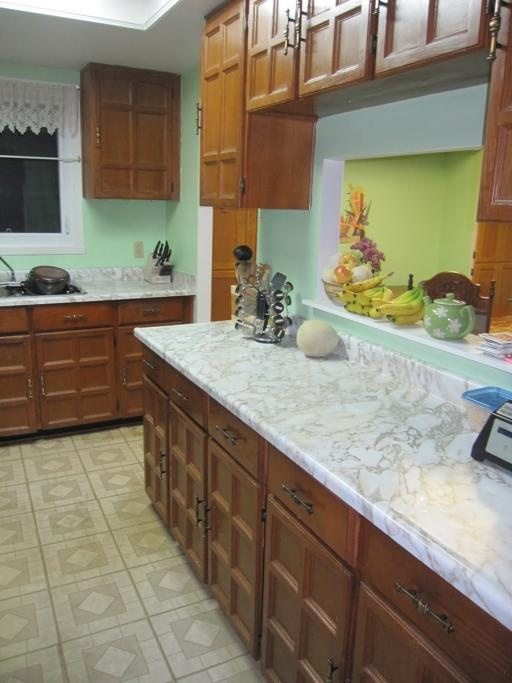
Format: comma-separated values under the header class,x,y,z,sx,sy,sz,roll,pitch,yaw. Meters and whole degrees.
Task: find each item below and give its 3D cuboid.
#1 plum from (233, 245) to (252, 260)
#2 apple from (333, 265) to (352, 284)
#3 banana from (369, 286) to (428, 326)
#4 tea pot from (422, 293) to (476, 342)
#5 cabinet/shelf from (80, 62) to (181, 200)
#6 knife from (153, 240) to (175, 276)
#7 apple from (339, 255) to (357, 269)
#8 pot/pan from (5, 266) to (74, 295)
class,x,y,z,sx,sy,sz,roll,pitch,yaw
plum,-0.053,-0.396,2.173,0.057,0.064,0.073,3,21,-4
apple,0.329,-0.243,1.886,0.073,0.064,0.064,-15,10,21
banana,0.456,-0.112,1.606,0.158,0.100,0.095,-22,14,-24
tea pot,0.554,-0.074,1.435,0.121,0.124,0.173,-12,23,-32
cabinet/shelf,-0.869,-1.381,3.369,0.577,0.783,0.280,-10,26,-34
knife,-0.680,-0.603,3.632,0.147,0.245,0.243,-1,13,-11
apple,0.355,-0.308,1.904,0.057,0.060,0.057,5,21,10
pot/pan,-1.311,-0.381,3.033,0.308,0.085,0.220,-6,21,-33
